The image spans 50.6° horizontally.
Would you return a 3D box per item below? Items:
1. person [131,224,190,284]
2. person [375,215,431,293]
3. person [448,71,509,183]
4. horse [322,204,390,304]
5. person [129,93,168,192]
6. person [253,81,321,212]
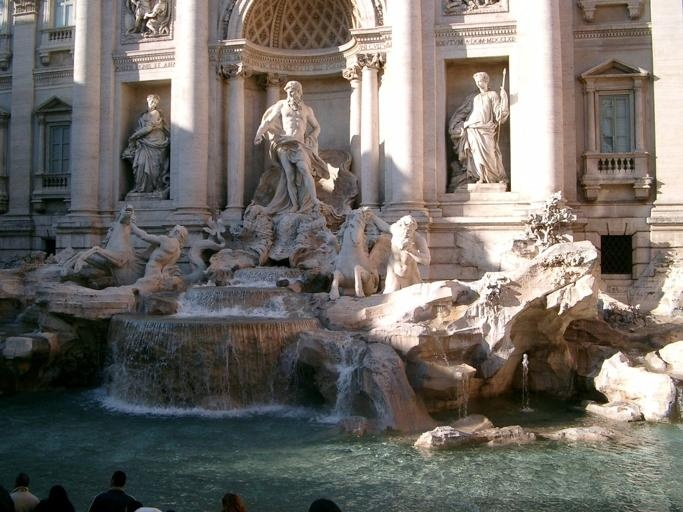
[{"bbox_3d":[-4.372,-0.015,17.722,0.875,0.558,1.321,10,33,14],"label":"person"},{"bbox_3d":[1.351,-0.036,15.106,0.933,1.593,0.585,0,1,6],"label":"person"},{"bbox_3d":[3.642,-3.331,19.131,1.422,2.865,0.522,0,1,7],"label":"person"},{"bbox_3d":[0.302,-0.011,16.516,2.184,2.066,1.739,-3,-12,29],"label":"horse"},{"bbox_3d":[-5.590,-3.251,21.158,1.105,2.782,0.475,-1,1,-12],"label":"person"},{"bbox_3d":[-1.310,-2.935,19.775,1.512,3.509,0.941,0,1,12],"label":"person"}]
